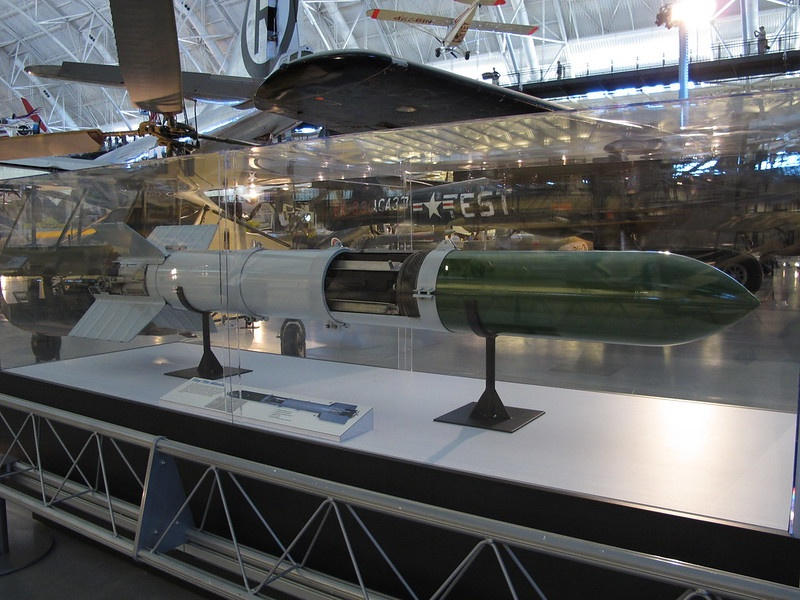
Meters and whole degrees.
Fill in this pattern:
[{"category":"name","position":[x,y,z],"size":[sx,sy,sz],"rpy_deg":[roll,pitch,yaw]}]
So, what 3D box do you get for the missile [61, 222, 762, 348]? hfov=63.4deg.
[{"category":"missile","position":[-0.545,-0.096,5.080],"size":[5.882,0.689,1.356],"rpy_deg":[1,21,23]}]
